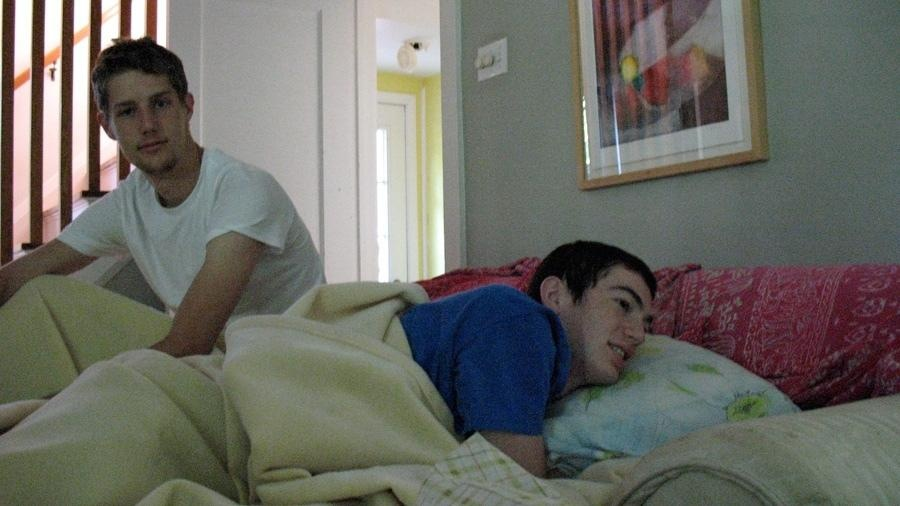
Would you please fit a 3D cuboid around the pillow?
[{"bbox_3d":[0.647,0.493,2.210,0.522,0.155,0.471,-22,22,-16],"label":"pillow"}]
